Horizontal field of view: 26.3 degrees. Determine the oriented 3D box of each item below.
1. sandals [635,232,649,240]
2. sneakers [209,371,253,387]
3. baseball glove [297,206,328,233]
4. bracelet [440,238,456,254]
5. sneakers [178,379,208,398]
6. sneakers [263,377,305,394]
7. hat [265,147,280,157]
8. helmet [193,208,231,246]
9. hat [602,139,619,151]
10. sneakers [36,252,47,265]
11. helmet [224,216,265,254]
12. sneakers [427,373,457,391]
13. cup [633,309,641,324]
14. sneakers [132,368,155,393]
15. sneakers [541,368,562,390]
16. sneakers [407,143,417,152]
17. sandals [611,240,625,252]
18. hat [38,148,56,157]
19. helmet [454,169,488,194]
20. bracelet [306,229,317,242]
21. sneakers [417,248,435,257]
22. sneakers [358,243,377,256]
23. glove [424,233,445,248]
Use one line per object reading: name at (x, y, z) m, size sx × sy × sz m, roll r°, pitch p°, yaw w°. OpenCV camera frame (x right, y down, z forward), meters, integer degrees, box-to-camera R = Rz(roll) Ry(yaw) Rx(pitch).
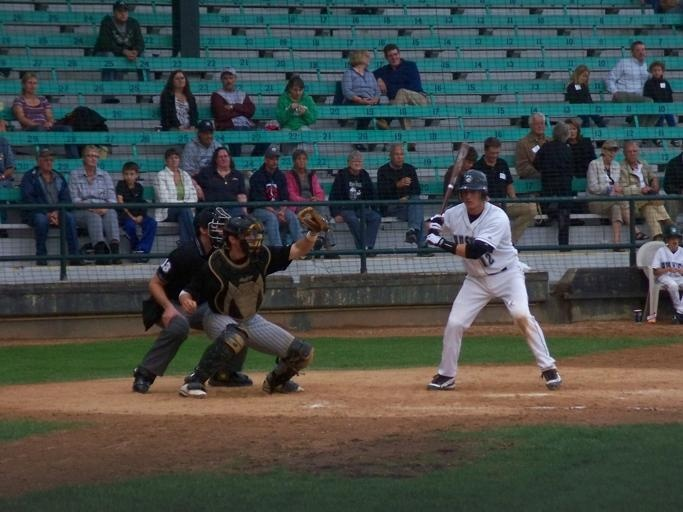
sandals at (5.100, -0.346, 24.865) m, size 0.246 × 0.133 × 0.076 m, roll -4°, pitch 14°, yaw -19°
sneakers at (-1.503, 1.670, 19.985) m, size 0.566 × 0.210 × 0.210 m, roll 0°, pitch 0°, yaw -6°
baseball glove at (-0.426, -0.499, 19.030) m, size 0.457 × 0.314 × 0.170 m, roll 20°, pitch 63°, yaw 46°
bracelet at (1.421, -0.128, 19.535) m, size 0.259 × 0.140 × 0.102 m, roll 21°, pitch -37°, yaw -7°
sneakers at (-1.921, 1.751, 19.223) m, size 0.376 × 0.130 × 0.166 m, roll 5°, pitch 0°, yaw 30°
sneakers at (-0.753, 1.702, 19.485) m, size 0.559 × 0.225 × 0.195 m, roll -1°, pitch 10°, yaw -2°
hat at (-1.150, -1.743, 24.265) m, size 0.243 × 0.146 × 0.307 m, roll 1°, pitch -5°, yaw -16°
helmet at (-1.717, -0.377, 19.499) m, size 0.542 × 0.500 × 0.444 m, roll 11°, pitch 9°, yaw 5°
hat at (4.569, -1.878, 24.915) m, size 0.250 × 0.140 × 0.217 m, roll 1°, pitch 12°, yaw 2°
sneakers at (-4.794, 0.052, 23.457) m, size 0.196 × 0.156 × 0.170 m, roll 1°, pitch 7°, yaw 0°
helmet at (-1.270, -0.303, 19.132) m, size 0.587 × 0.457 × 0.434 m, roll 6°, pitch 1°, yaw 28°
sneakers at (1.349, 1.674, 19.659) m, size 0.400 × 0.213 × 0.288 m, roll 0°, pitch 12°, yaw -4°
cup at (4.970, 1.004, 24.637) m, size 0.212 × 0.223 × 0.188 m, roll 1°, pitch -9°, yaw 0°
sneakers at (-2.632, 1.630, 19.558) m, size 0.238 × 0.168 × 0.375 m, roll 18°, pitch 31°, yaw -12°
sneakers at (2.796, 1.631, 19.522) m, size 0.150 × 0.185 × 0.409 m, roll -43°, pitch -15°, yaw 12°
sneakers at (1.279, -1.975, 26.691) m, size 0.168 × 0.137 × 0.105 m, roll 2°, pitch -2°, yaw 4°
sandals at (4.678, -0.164, 24.746) m, size 0.218 × 0.200 × 0.139 m, roll 2°, pitch 13°, yaw 8°
hat at (-4.736, -1.640, 23.576) m, size 0.271 × 0.118 × 0.195 m, roll -8°, pitch 15°, yaw -37°
helmet at (1.822, -1.007, 19.632) m, size 0.405 × 0.196 × 0.296 m, roll 2°, pitch -1°, yaw -33°
bracelet at (-0.346, -0.259, 19.114) m, size 0.173 × 0.112 × 0.165 m, roll -8°, pitch 17°, yaw -35°
sneakers at (1.405, -0.053, 24.366) m, size 0.333 × 0.191 × 0.119 m, roll -5°, pitch 10°, yaw -6°
sneakers at (0.424, -0.094, 24.260) m, size 0.278 × 0.232 × 0.199 m, roll 1°, pitch 12°, yaw 4°
glove at (1.236, -0.176, 19.605) m, size 0.254 × 0.114 × 0.163 m, roll 22°, pitch 35°, yaw 38°
